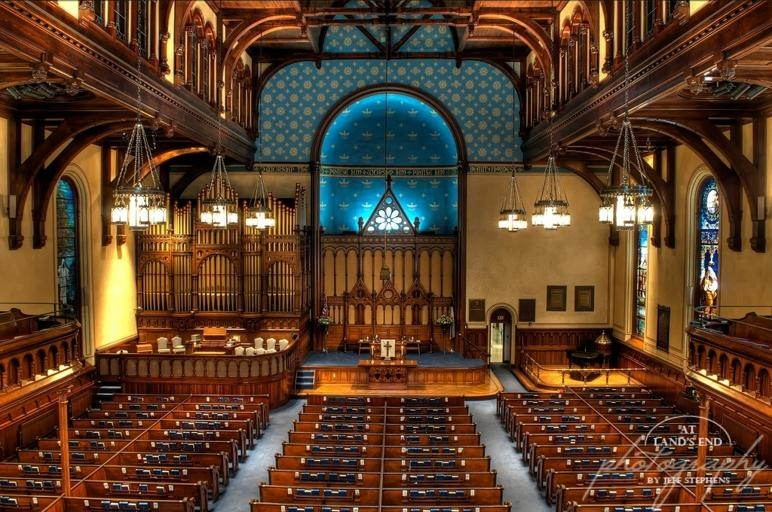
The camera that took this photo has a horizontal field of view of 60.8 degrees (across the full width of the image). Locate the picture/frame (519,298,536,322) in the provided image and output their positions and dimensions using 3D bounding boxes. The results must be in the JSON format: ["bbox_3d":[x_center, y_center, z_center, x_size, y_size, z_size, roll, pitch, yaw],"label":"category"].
[{"bbox_3d":[7.212,2.722,33.661,1.137,1.582,0.170,-1,3,2],"label":"picture/frame"}]

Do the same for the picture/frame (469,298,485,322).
[{"bbox_3d":[4.611,2.743,33.626,1.158,1.566,0.107,1,-1,-3],"label":"picture/frame"}]

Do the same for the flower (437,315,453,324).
[{"bbox_3d":[3.054,3.311,33.961,0.462,0.356,0.475,-3,3,-27],"label":"flower"}]

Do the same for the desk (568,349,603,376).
[{"bbox_3d":[9.831,5.223,32.563,1.600,0.980,2.236,-1,1,15],"label":"desk"}]

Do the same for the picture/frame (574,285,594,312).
[{"bbox_3d":[10.106,2.110,33.682,1.290,1.734,0.133,0,1,-1],"label":"picture/frame"}]

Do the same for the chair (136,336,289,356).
[{"bbox_3d":[-7.702,4.269,30.746,4.711,0.793,1.128,1,1,1],"label":"chair"}]
